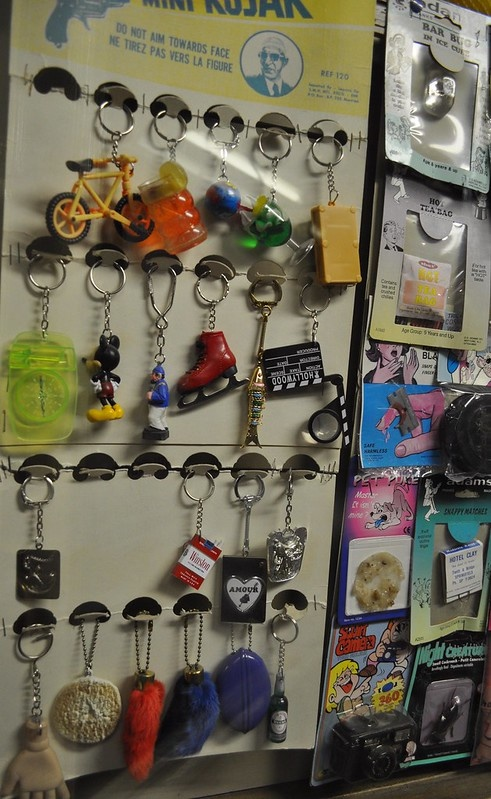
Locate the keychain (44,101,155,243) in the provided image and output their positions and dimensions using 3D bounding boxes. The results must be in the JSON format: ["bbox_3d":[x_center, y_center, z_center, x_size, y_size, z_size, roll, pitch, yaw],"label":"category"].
[{"bbox_3d":[-0.188,-0.304,0.843,0.141,0.203,0.052,2,7,-18],"label":"keychain"}]

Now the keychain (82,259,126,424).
[{"bbox_3d":[-0.190,-0.086,0.857,0.057,0.244,0.060,3,6,-14],"label":"keychain"}]

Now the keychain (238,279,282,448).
[{"bbox_3d":[0.027,-0.053,0.952,0.054,0.251,0.024,4,-3,-19],"label":"keychain"}]

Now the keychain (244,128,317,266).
[{"bbox_3d":[0.050,-0.310,0.937,0.128,0.211,0.055,-1,8,-40],"label":"keychain"}]

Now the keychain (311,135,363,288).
[{"bbox_3d":[0.134,-0.293,0.963,0.090,0.238,0.058,4,6,-6],"label":"keychain"}]

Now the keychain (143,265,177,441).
[{"bbox_3d":[-0.123,-0.072,0.891,0.058,0.267,0.053,3,6,-11],"label":"keychain"}]

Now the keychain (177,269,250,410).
[{"bbox_3d":[-0.051,-0.100,0.911,0.118,0.222,0.033,-12,23,-25],"label":"keychain"}]
